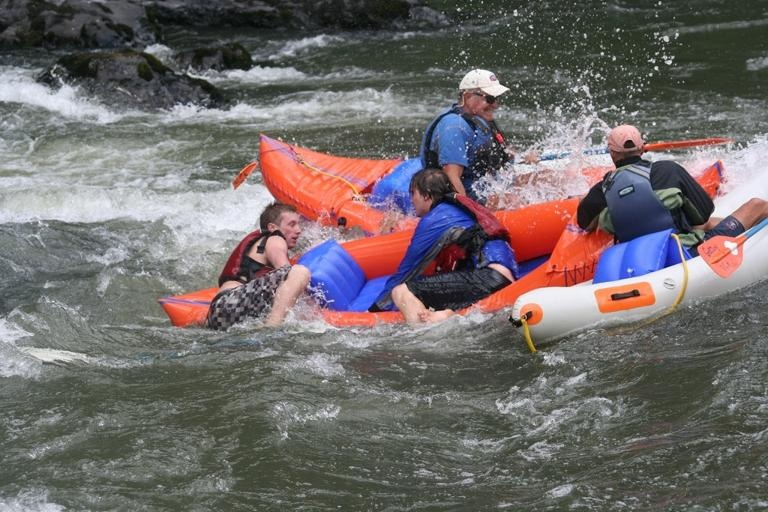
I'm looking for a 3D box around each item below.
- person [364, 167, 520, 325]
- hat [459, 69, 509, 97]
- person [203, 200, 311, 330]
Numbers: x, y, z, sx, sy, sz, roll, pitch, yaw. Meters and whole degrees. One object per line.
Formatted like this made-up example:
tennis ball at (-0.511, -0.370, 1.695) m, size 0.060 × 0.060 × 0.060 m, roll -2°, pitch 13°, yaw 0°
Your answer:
person at (0.684, -0.123, 11.425) m, size 1.481 × 1.579 × 0.819 m, roll -1°, pitch 11°, yaw 5°
hat at (1.179, -1.990, 12.331) m, size 0.602 × 0.224 × 0.300 m, roll 1°, pitch 26°, yaw 9°
person at (-1.396, 0.125, 11.788) m, size 1.167 × 1.295 × 1.045 m, roll -2°, pitch 10°, yaw -1°
